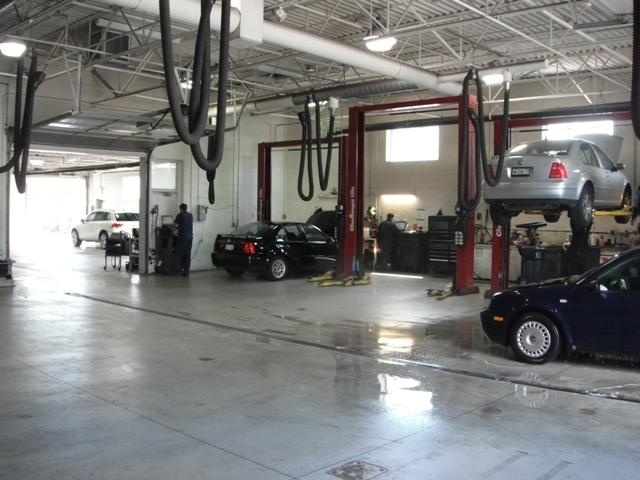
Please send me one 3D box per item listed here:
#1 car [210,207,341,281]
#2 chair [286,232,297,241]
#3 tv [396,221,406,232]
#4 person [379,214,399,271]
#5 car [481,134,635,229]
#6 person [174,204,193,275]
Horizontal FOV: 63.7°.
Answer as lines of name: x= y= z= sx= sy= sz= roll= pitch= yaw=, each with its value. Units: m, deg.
car: x=-1.189 y=0.040 z=14.681 sx=3.524 sy=1.260 sz=1.595 roll=-4 pitch=3 yaw=-44
chair: x=-0.797 y=-0.100 z=14.486 sx=0.318 sy=0.345 sz=0.179 roll=2 pitch=-7 yaw=-20
tv: x=2.892 y=-0.522 z=18.247 sx=0.310 sy=0.460 sz=0.191 roll=7 pitch=-3 yaw=11
person: x=2.257 y=0.196 z=17.026 sx=0.674 sy=1.625 sz=0.382 roll=1 pitch=3 yaw=5
car: x=4.895 y=-1.176 z=10.262 sx=1.671 sy=1.494 sz=3.724 roll=2 pitch=8 yaw=39
person: x=-4.034 y=-0.020 z=15.291 sx=0.475 sy=2.107 sz=0.852 roll=0 pitch=3 yaw=-17
